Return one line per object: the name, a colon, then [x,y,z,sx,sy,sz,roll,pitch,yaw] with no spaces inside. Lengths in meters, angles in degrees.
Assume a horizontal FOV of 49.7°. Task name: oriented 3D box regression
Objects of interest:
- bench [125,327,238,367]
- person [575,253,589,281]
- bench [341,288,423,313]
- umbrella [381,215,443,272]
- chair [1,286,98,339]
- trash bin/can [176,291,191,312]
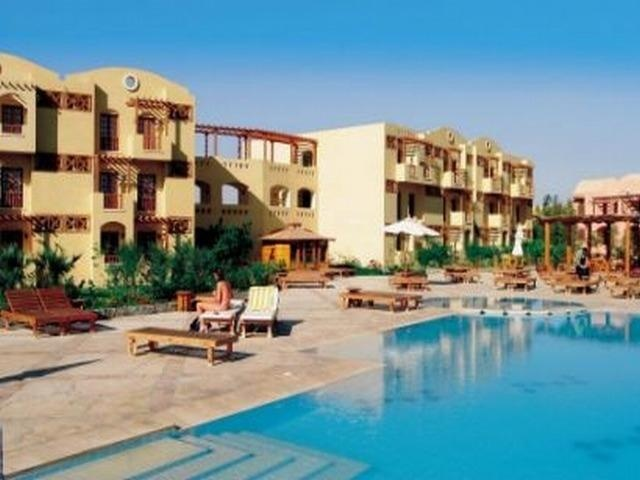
bench: [-3.123,2.311,15.231,2.671,0.710,1.543,-2,-3,34]
person: [12.471,1.200,32.659,0.566,1.277,1.348,-1,-2,20]
bench: [1.891,1.963,22.970,2.275,0.725,2.936,1,-3,-29]
umbrella: [4.189,0.681,31.824,2.948,2.539,2.995,2,8,18]
chair: [-7.166,1.844,18.251,2.004,1.133,2.496,2,-3,-38]
trash bin/can: [-4.339,1.970,22.214,0.534,0.665,0.591,-4,-5,45]
